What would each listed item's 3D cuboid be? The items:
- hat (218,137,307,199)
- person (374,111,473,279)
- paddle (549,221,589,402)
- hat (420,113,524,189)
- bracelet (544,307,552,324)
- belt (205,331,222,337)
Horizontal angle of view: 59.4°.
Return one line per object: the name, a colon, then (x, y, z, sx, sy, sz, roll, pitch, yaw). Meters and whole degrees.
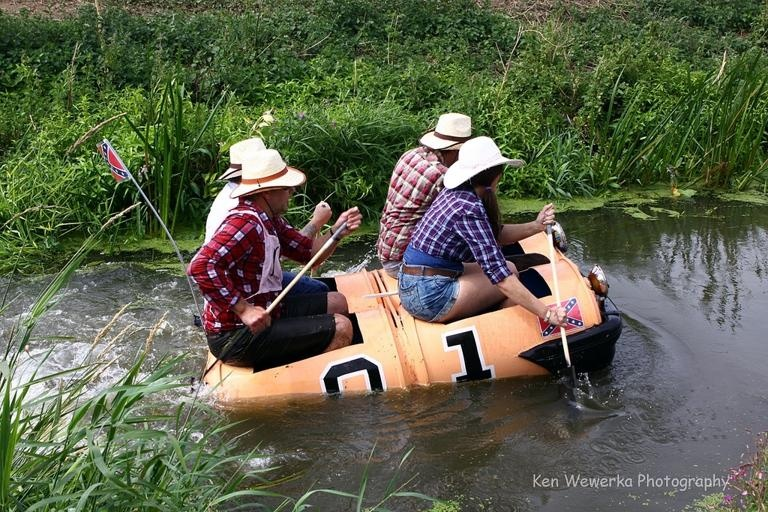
hat: (-0.890, -0.681, 5.356, 0.421, 0.207, 0.490, -15, 20, 14)
person: (0.476, -0.515, 6.157, 0.900, 1.456, 0.669, 5, 25, -5)
paddle: (1.457, 0.396, 5.608, 0.169, 0.088, 1.604, -9, 64, -2)
hat: (0.662, -0.859, 5.707, 0.665, 0.301, 0.810, -7, 24, -11)
bracelet: (1.314, 0.472, 5.400, 0.052, 0.111, 0.047, 9, 25, 17)
belt: (-1.332, 0.615, 5.316, 0.068, 0.054, 0.072, 2, 3, 14)
